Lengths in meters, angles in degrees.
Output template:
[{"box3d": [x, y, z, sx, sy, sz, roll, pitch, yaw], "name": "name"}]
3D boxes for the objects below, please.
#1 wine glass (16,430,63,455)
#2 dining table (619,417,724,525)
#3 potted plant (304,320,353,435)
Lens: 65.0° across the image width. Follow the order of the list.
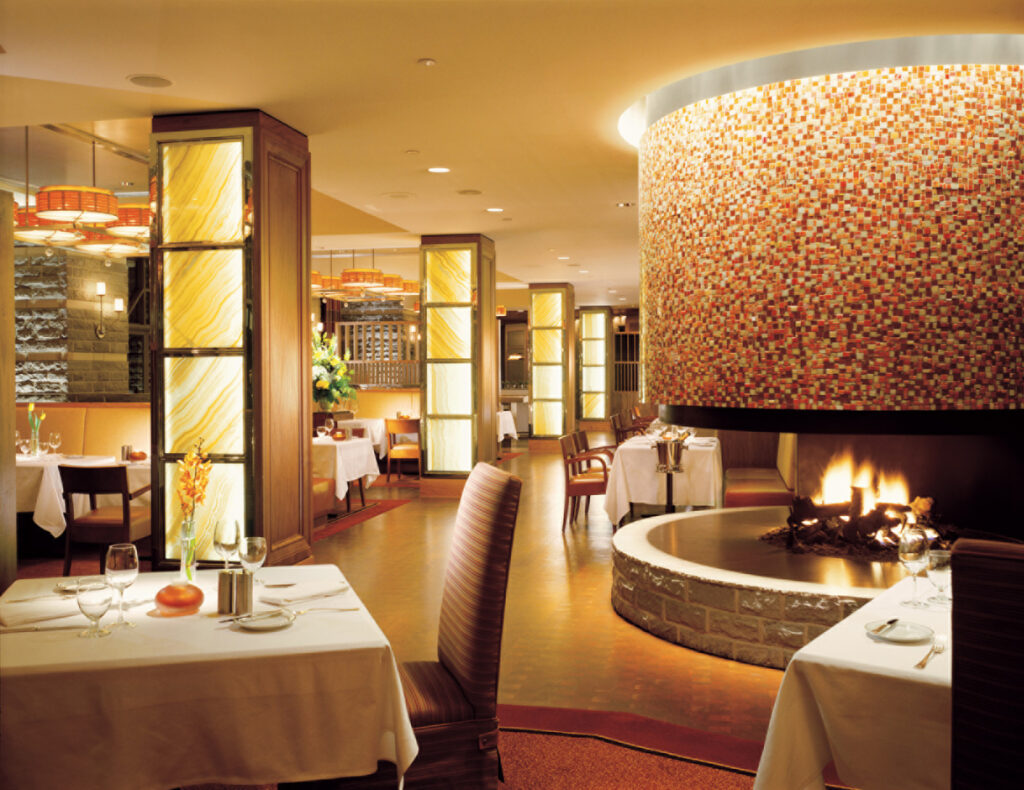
[{"box3d": [-4.184, 0.416, 7.084, 0.306, 0.174, 0.290, 0, -2, -7], "name": "wine glass"}, {"box3d": [1.384, 0.688, 7.280, 0.722, 0.505, 1.184, 1, 4, 13], "name": "dining table"}, {"box3d": [-1.994, -0.172, 8.803, 0.459, 0.720, 0.483, 3, -2, -24], "name": "potted plant"}]
